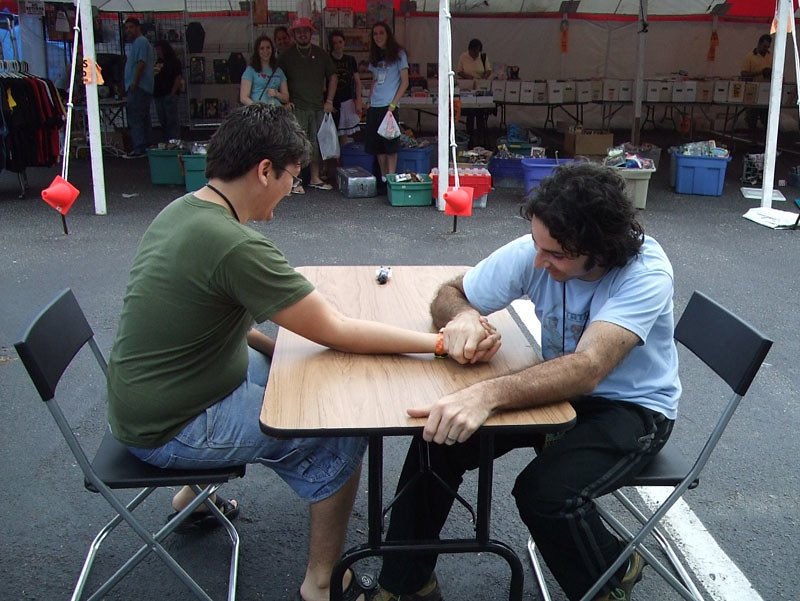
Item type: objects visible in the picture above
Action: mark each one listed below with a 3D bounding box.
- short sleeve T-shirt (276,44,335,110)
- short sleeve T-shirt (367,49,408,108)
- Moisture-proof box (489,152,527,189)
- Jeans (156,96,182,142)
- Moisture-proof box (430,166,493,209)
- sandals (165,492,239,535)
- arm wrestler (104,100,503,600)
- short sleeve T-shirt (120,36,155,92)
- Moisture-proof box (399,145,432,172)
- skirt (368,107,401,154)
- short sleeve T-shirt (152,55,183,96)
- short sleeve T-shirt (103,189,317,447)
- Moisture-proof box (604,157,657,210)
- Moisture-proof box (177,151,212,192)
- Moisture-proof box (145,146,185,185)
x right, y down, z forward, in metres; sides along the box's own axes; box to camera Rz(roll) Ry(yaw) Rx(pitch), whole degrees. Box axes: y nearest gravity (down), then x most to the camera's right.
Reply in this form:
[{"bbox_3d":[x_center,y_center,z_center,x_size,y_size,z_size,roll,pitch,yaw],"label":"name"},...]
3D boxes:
[{"bbox_3d":[-1.458,-3.538,9.300,0.903,1.029,0.483,-7,22,-11],"label":"short sleeve T-shirt"},{"bbox_3d":[-0.228,-3.472,9.216,0.728,1.008,0.342,3,-3,28],"label":"short sleeve T-shirt"},{"bbox_3d":[1.900,-2.334,10.226,0.619,0.432,0.689,2,37,2],"label":"Moisture-proof box"},{"bbox_3d":[-4.940,-3.944,12.529,0.405,1.042,0.297,12,23,20],"label":"Jeans"},{"bbox_3d":[0.929,-1.689,8.597,0.751,0.401,0.553,-1,20,0],"label":"Moisture-proof box"},{"bbox_3d":[-0.943,1.061,2.846,0.335,0.152,0.168,-5,9,-34],"label":"sandals"},{"bbox_3d":[-0.663,-0.102,2.891,1.659,2.321,1.506,-5,30,-21],"label":"arm wrestler"},{"bbox_3d":[-5.202,-4.770,11.822,0.492,1.102,0.879,-4,13,-24],"label":"short sleeve T-shirt"},{"bbox_3d":[0.276,-2.427,10.060,0.495,0.480,0.729,1,21,3],"label":"Moisture-proof box"},{"bbox_3d":[-0.242,-2.685,9.222,0.496,0.759,0.377,5,27,8],"label":"skirt"},{"bbox_3d":[-4.890,-4.747,12.293,0.498,0.989,0.885,-5,22,-40],"label":"short sleeve T-shirt"},{"bbox_3d":[-0.795,-0.045,2.432,0.696,0.925,0.815,0,26,-13],"label":"short sleeve T-shirt"},{"bbox_3d":[3.165,-1.612,8.288,0.654,0.534,0.631,-2,15,-20],"label":"Moisture-proof box"},{"bbox_3d":[-3.317,-2.117,9.382,0.481,0.642,0.583,-17,37,-38],"label":"Moisture-proof box"},{"bbox_3d":[-4.019,-2.396,10.065,0.588,0.597,0.842,-4,23,-21],"label":"Moisture-proof box"}]
